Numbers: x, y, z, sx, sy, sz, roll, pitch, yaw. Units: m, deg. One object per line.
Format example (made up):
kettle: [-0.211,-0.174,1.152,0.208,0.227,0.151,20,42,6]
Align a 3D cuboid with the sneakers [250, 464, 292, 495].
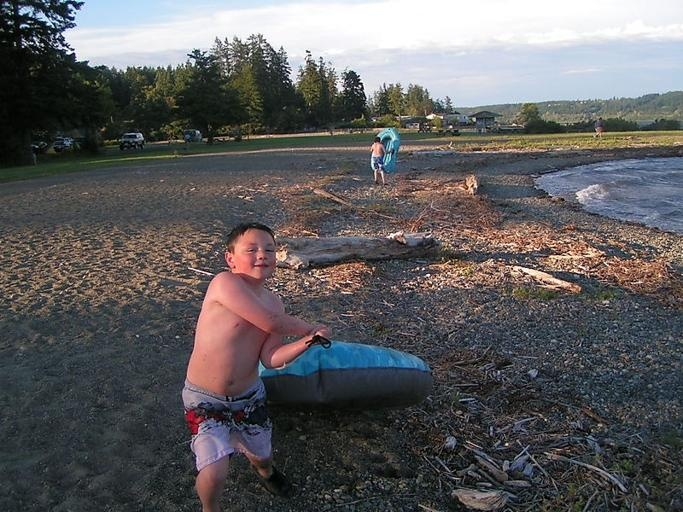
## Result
sneakers: [-0.514,1.640,3.689,0.276,0.109,0.139,23,34,29]

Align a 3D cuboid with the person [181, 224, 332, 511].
person: [-0.719,0.774,3.546,0.970,1.955,0.807,-14,19,-22]

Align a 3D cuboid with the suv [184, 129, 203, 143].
suv: [-15.662,-12.770,52.686,1.158,1.151,2.153,4,15,21]

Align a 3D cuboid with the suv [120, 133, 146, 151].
suv: [-19.245,-10.590,45.610,1.758,1.449,3.016,-1,4,-4]
